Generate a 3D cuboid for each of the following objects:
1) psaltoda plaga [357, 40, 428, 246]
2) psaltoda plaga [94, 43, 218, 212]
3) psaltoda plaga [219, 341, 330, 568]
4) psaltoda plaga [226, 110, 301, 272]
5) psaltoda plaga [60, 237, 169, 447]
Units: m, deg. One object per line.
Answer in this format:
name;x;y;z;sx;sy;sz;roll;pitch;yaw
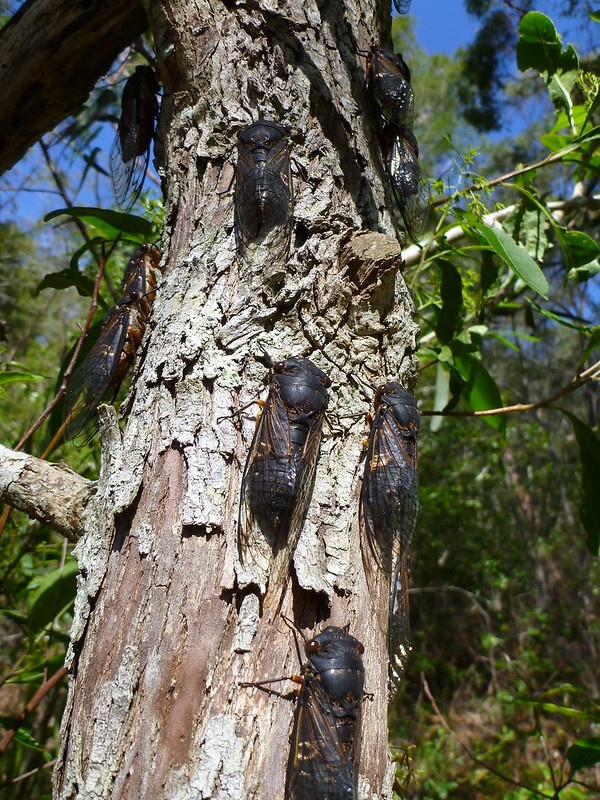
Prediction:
psaltoda plaga;0.226;-0.631;2.224;0.216;0.433;0.121;-12;11;-24
psaltoda plaga;-0.430;-0.737;2.457;0.127;0.293;0.436;25;-31;-9
psaltoda plaga;-0.051;0.114;1.763;0.222;0.349;0.107;15;-13;-13
psaltoda plaga;-0.082;-0.408;1.793;0.124;0.290;0.108;2;-5;0
psaltoda plaga;-0.437;-0.164;2.222;0.113;0.535;0.304;27;-31;-14
